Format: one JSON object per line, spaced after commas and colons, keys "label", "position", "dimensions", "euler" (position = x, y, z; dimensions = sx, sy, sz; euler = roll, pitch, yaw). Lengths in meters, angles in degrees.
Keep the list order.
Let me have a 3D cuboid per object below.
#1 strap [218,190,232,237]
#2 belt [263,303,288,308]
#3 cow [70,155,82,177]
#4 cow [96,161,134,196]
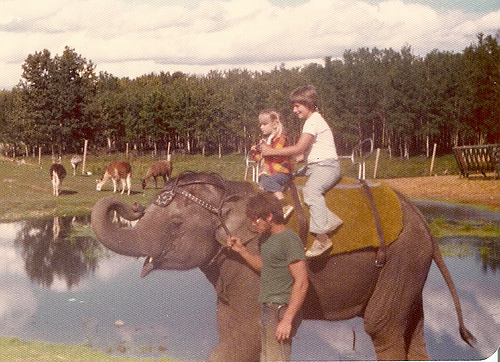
{"label": "strap", "position": [-0.339, 0.420, 5.927], "dimensions": [0.048, 0.105, 0.684], "euler": [6, 42, -25]}
{"label": "belt", "position": [0.289, 1.407, 5.229], "dimensions": [0.264, 0.051, 0.037], "euler": [1, 7, 11]}
{"label": "cow", "position": [-12.901, -1.186, 34.085], "dimensions": [0.569, 1.389, 2.927], "euler": [-3, 8, -20]}
{"label": "cow", "position": [-7.788, -0.188, 26.469], "dimensions": [2.377, 2.051, 0.745], "euler": [-8, -8, 18]}
